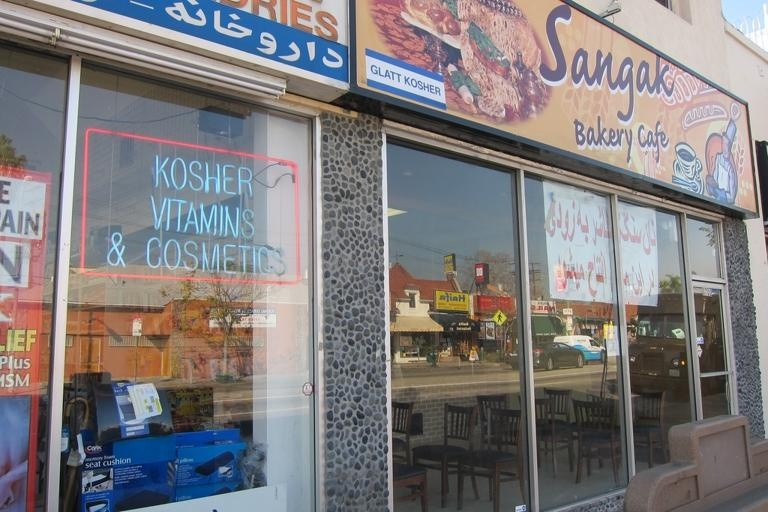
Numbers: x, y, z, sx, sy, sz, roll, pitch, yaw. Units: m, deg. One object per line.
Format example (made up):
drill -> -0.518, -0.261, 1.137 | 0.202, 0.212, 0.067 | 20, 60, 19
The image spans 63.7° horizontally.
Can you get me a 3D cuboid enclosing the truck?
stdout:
truck -> 4.136, 1.276, 8.752 | 0.899, 1.258, 1.658 | 2, -5, 42
